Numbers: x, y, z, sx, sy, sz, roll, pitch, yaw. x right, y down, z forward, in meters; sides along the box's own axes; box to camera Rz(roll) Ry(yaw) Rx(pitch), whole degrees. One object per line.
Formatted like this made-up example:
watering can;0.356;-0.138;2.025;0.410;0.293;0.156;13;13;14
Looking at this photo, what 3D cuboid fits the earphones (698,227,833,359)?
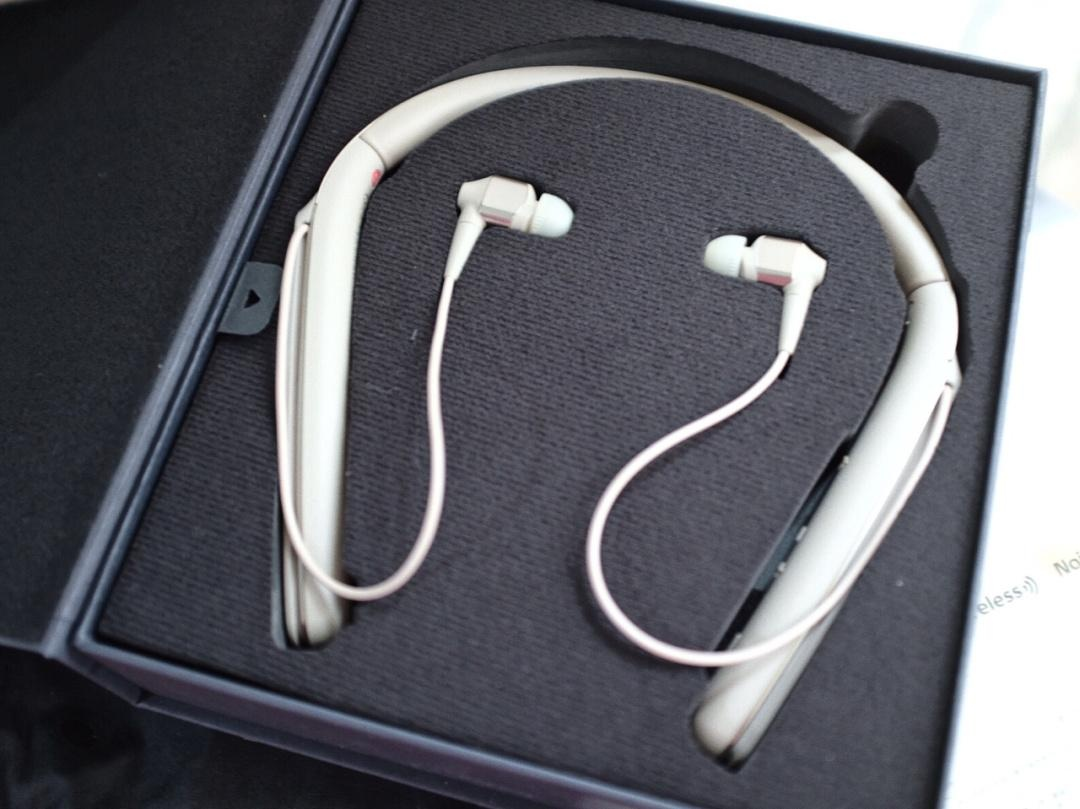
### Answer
earphones;0.174;-0.093;0.912;0.089;0.084;0.053;17;17;31
